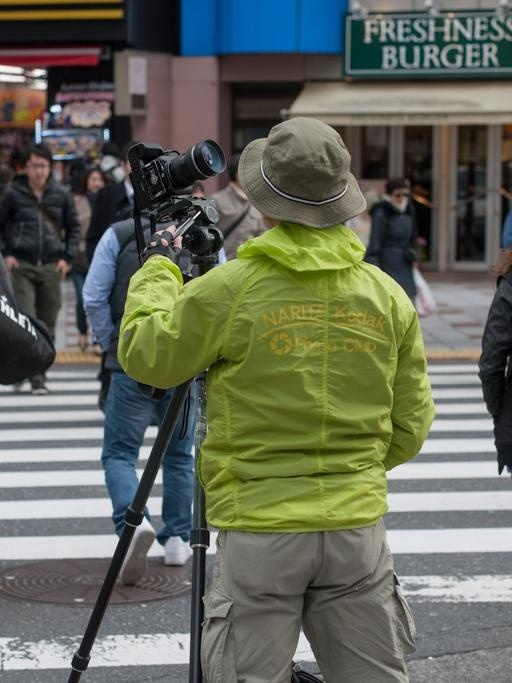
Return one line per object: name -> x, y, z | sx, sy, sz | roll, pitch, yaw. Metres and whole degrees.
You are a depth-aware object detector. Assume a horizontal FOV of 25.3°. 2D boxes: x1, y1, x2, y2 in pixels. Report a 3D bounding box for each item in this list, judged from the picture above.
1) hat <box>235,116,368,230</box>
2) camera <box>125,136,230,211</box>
hat -> 0.098, -0.389, 2.714 | 0.273, 0.148, 0.288 | -22, 52, -25
camera -> -0.227, -0.503, 3.361 | 0.272, 0.193, 0.153 | -16, 2, 26
